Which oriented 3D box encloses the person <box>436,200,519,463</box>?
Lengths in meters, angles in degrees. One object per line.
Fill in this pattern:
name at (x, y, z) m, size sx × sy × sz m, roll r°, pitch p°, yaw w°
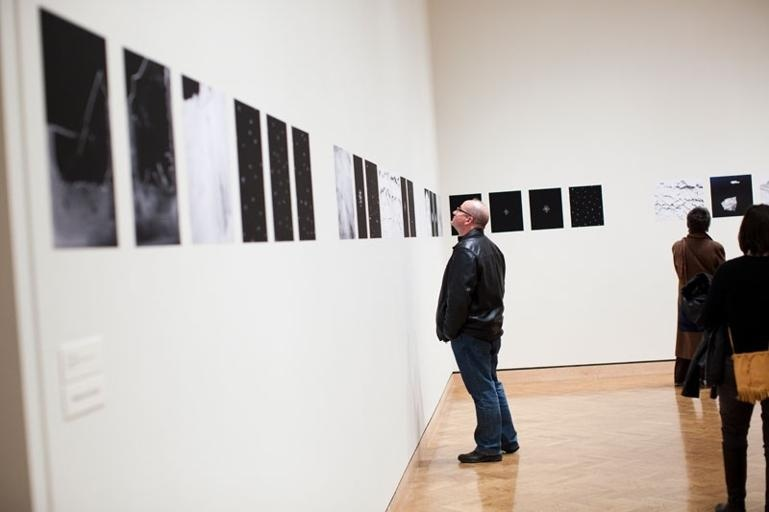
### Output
person at (0.875, 0.714, 5.265) m, size 0.570 × 2.400 × 0.746 m, roll -4°, pitch -1°, yaw 31°
